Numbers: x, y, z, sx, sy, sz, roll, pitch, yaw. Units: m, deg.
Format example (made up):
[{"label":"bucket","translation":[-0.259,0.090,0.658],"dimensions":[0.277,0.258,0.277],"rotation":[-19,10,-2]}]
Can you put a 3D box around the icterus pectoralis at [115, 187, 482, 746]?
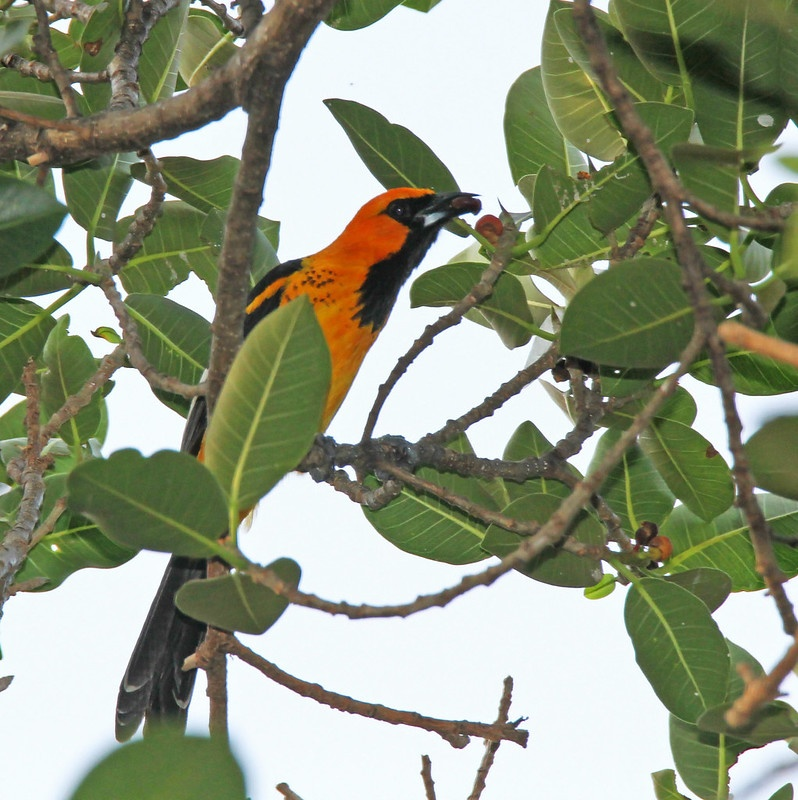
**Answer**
[{"label":"icterus pectoralis","translation":[-0.380,0.121,4.312],"dimensions":[1.932,0.572,0.455],"rotation":[-58,-24,-8]}]

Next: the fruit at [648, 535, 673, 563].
[{"label":"fruit","translation":[0.845,0.476,4.645],"dimensions":[0.065,0.087,0.071],"rotation":[4,-91,5]}]
